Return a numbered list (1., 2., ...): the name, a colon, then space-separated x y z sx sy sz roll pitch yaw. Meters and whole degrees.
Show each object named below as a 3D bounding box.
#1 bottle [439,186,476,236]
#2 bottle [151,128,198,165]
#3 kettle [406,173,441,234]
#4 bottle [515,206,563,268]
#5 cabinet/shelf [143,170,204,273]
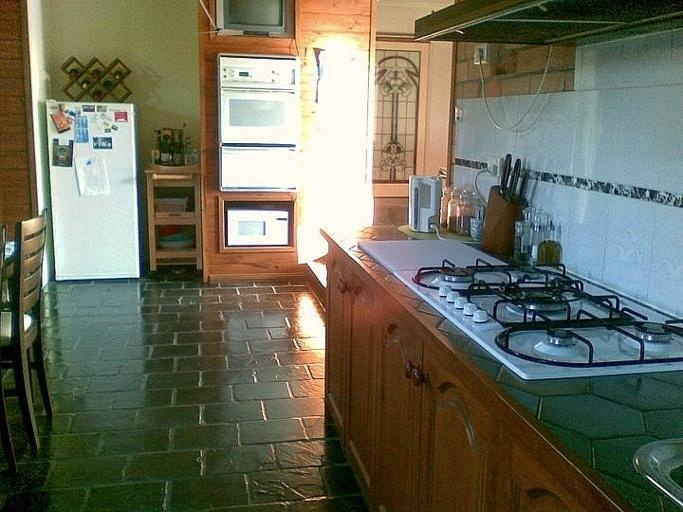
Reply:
1. bottle: 0.608 -0.241 2.790 0.174 0.231 0.319 4 15 10
2. bottle: -1.807 -1.185 5.806 0.480 0.384 0.340 -3 16 -16
3. kettle: 0.441 -0.270 2.803 0.157 0.276 0.180 5 16 10
4. bottle: 0.800 -0.077 2.171 0.211 0.229 0.234 -2 4 -31
5. cabinet/shelf: -1.854 -0.408 5.881 0.571 1.147 0.755 -3 16 -18
